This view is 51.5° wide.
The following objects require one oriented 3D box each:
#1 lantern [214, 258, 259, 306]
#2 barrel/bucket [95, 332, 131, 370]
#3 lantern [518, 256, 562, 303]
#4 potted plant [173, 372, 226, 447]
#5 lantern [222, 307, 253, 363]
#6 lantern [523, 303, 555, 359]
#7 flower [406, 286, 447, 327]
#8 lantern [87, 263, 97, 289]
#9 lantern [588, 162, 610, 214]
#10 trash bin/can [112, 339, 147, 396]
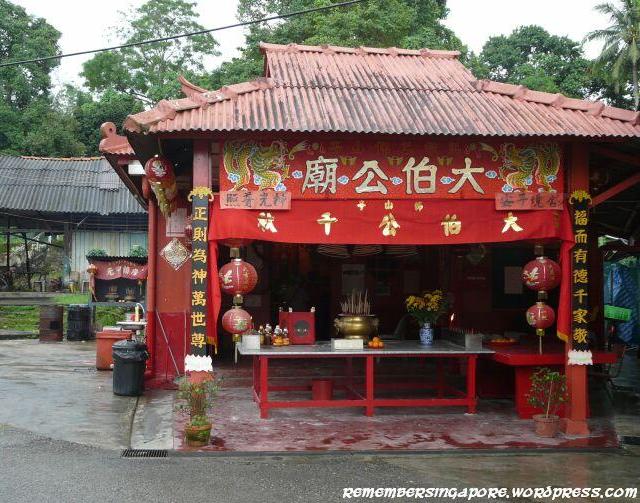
[{"bbox_3d":[-1.320,0.461,10.477,0.571,0.701,0.505,0,4,-10],"label":"lantern"},{"bbox_3d":[-4.510,2.214,14.877,0.850,0.887,0.748,0,-11,13],"label":"barrel/bucket"},{"bbox_3d":[3.533,0.443,10.610,0.562,0.706,0.389,2,4,17],"label":"lantern"},{"bbox_3d":[-1.742,2.251,9.427,0.796,0.923,0.697,2,2,-15],"label":"potted plant"},{"bbox_3d":[-1.302,1.280,10.362,0.414,0.763,0.371,4,0,-15],"label":"lantern"},{"bbox_3d":[3.575,1.279,10.794,0.472,0.861,0.444,-1,1,-25],"label":"lantern"},{"bbox_3d":[1.956,0.977,11.813,0.765,0.979,0.757,5,1,-6],"label":"flower"},{"bbox_3d":[-6.997,0.840,20.328,0.330,0.890,0.300,4,5,43],"label":"lantern"},{"bbox_3d":[5.578,-1.375,13.297,0.359,0.581,1.404,2,4,23],"label":"lantern"},{"bbox_3d":[-3.431,2.123,12.173,0.703,0.922,0.677,1,-4,10],"label":"trash bin/can"}]
